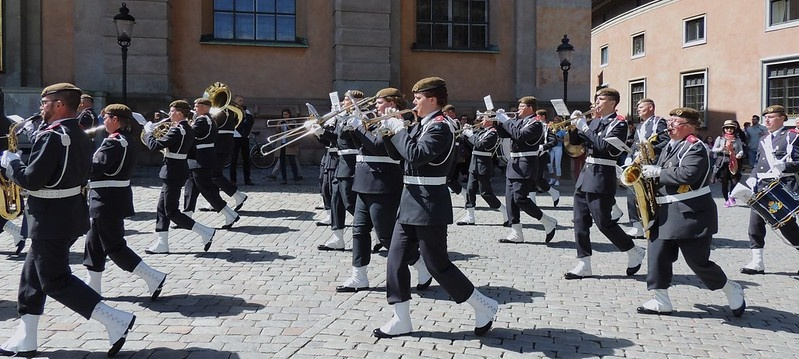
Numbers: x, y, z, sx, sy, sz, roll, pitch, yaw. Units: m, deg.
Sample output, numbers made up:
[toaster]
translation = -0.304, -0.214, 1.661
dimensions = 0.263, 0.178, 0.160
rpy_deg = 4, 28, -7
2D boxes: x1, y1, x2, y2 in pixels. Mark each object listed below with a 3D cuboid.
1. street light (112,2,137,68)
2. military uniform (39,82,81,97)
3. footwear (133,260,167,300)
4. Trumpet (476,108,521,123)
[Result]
[street light]
translation = -9.810, -5.300, 23.951
dimensions = 0.733, 2.226, 2.570
rpy_deg = -3, 11, -22
[military uniform]
translation = -6.684, -1.775, 13.124
dimensions = 0.652, 0.149, 0.580
rpy_deg = -3, 4, 8
[footwear]
translation = -5.261, 2.139, 14.120
dimensions = 0.605, 0.792, 0.298
rpy_deg = 5, 12, 23
[Trumpet]
translation = 2.432, -1.644, 17.105
dimensions = 1.266, 0.454, 0.402
rpy_deg = 2, 8, 6
